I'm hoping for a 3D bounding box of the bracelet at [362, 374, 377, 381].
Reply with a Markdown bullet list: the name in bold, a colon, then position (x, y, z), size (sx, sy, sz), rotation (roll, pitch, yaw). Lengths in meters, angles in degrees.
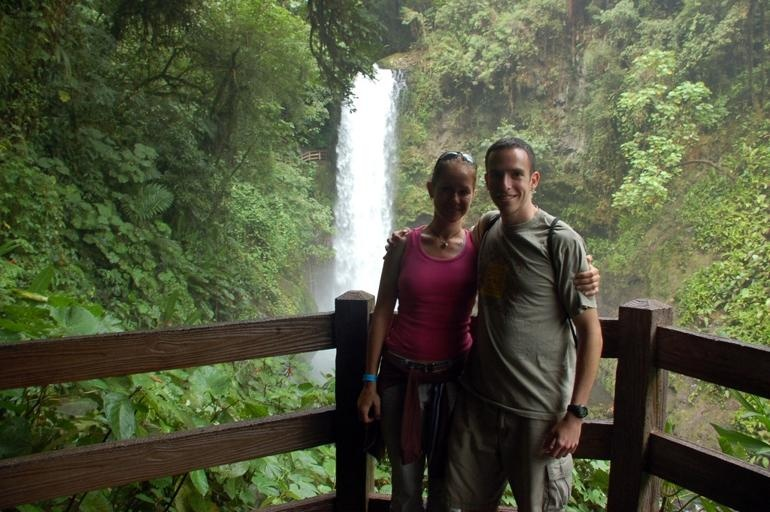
- **bracelet**: position (-0.105, 0.814, 3.649), size (0.055, 0.028, 0.051), rotation (2, -1, -12)
